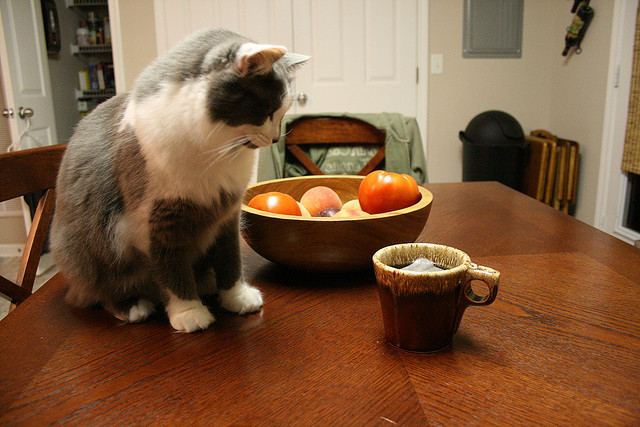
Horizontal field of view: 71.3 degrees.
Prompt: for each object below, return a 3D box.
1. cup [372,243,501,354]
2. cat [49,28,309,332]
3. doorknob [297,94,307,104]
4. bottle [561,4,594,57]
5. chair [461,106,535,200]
[{"bbox_3d":[0.193,0.125,0.762,0.192,0.147,0.153,0,14,14],"label":"cup"},{"bbox_3d":[-0.310,-0.076,0.955,0.518,0.572,0.329,7,12,16],"label":"cat"},{"bbox_3d":[-0.126,-0.821,3.182,0.068,0.068,0.033,-5,20,-11],"label":"doorknob"},{"bbox_3d":[1.677,-1.210,2.920,0.088,0.275,0.077,36,34,30],"label":"bottle"},{"bbox_3d":[1.255,-0.368,3.279,0.508,0.748,0.466,-2,21,-1],"label":"chair"}]
